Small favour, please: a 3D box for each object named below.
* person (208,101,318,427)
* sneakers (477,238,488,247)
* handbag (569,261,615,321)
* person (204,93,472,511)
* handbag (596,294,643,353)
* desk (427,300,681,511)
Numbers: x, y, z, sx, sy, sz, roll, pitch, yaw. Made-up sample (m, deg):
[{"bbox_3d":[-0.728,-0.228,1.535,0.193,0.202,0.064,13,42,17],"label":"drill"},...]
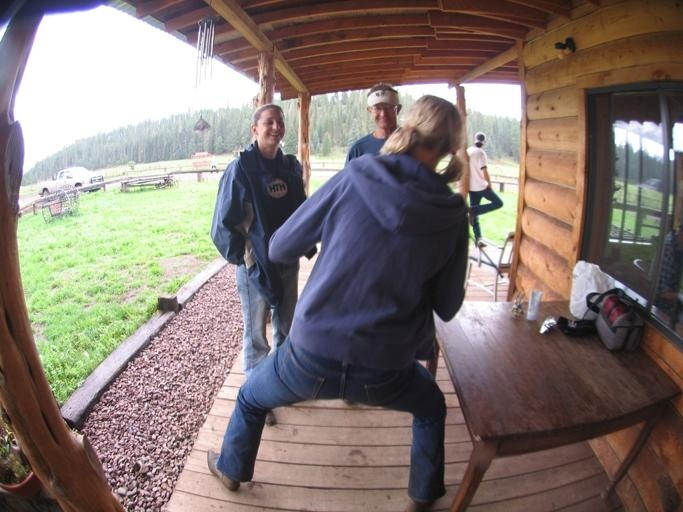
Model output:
[{"bbox_3d":[-0.549,0.052,3.415,0.754,2.390,0.690,-3,10,-13],"label":"person"},{"bbox_3d":[1.965,-0.161,6.076,0.114,0.142,0.157,21,-16,28],"label":"sneakers"},{"bbox_3d":[1.791,0.260,3.097,0.238,0.421,0.289,6,7,-29],"label":"handbag"},{"bbox_3d":[0.042,0.573,2.411,1.234,2.219,0.432,2,12,11],"label":"person"},{"bbox_3d":[1.834,0.424,2.885,0.154,0.343,0.347,4,21,9],"label":"handbag"},{"bbox_3d":[1.180,0.694,2.771,0.957,1.015,1.299,14,27,-16],"label":"desk"}]
